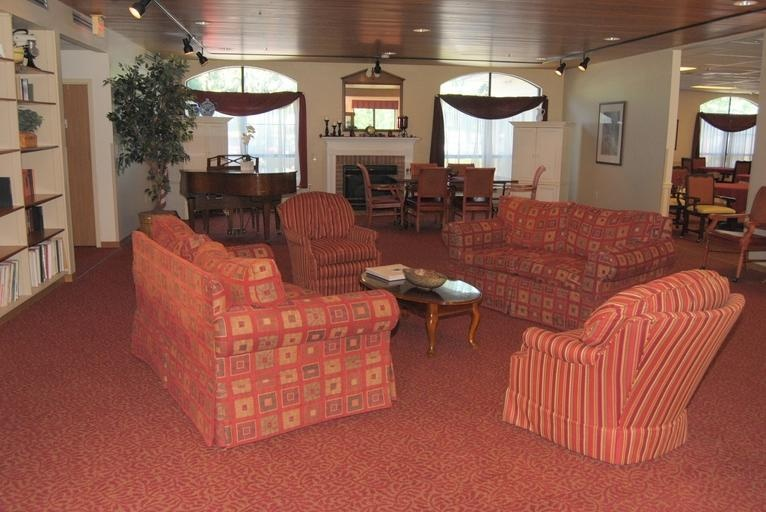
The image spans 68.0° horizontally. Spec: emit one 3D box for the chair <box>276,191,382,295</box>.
[{"bbox_3d":[-0.644,-0.150,6.415,1.104,1.283,1.226,-7,14,-32],"label":"chair"}]

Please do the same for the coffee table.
[{"bbox_3d":[0.459,0.521,5.337,0.788,0.430,1.243,-4,9,-21],"label":"coffee table"}]

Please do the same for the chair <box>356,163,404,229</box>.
[{"bbox_3d":[-0.062,-1.091,10.349,0.955,1.058,0.870,-5,11,-26],"label":"chair"}]

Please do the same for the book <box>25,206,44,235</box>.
[{"bbox_3d":[-3.926,-0.399,6.391,0.323,0.301,0.226,12,13,40],"label":"book"}]

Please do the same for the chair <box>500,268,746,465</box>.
[{"bbox_3d":[1.657,0.688,4.069,1.344,1.259,1.345,-6,12,-6],"label":"chair"}]

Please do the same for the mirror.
[{"bbox_3d":[-0.272,-3.392,12.086,1.508,1.363,0.157,0,9,-8],"label":"mirror"}]

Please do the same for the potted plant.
[{"bbox_3d":[-3.518,-1.905,8.747,1.173,2.211,1.793,-5,15,-19],"label":"potted plant"}]

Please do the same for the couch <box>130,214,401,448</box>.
[{"bbox_3d":[-1.116,0.400,4.703,1.574,1.228,2.306,-4,12,-31],"label":"couch"}]
